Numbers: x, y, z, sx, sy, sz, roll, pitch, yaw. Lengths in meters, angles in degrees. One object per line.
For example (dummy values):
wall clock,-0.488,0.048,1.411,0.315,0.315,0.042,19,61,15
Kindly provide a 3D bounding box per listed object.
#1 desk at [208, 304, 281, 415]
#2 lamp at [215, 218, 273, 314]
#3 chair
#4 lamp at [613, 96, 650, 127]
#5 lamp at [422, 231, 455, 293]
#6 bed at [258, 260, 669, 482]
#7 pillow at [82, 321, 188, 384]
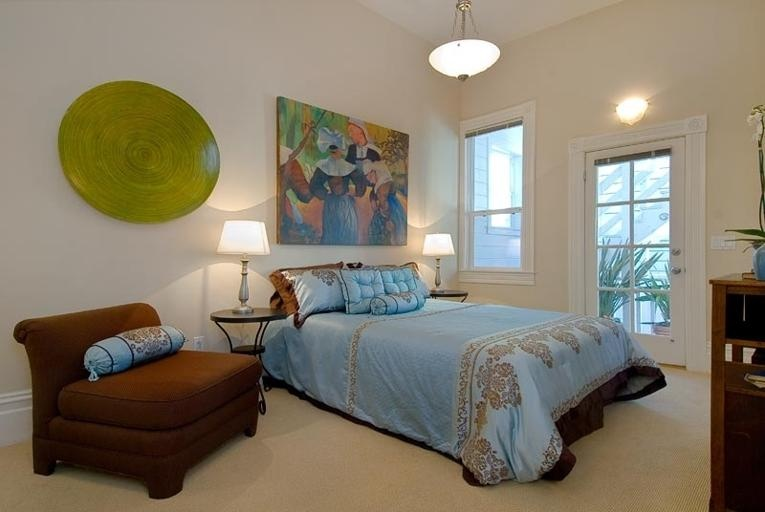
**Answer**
desk,-1.216,0.932,4.459,0.715,0.859,0.702,0,3,-13
lamp,-1.257,0.091,4.486,0.474,0.781,0.472,0,-2,-19
chair,-1.734,0.972,3.659,1.287,1.035,1.289,1,2,20
lamp,2.660,-1.551,5.315,0.273,0.303,0.087,-26,-20,34
lamp,0.662,0.081,6.020,0.430,0.703,0.454,4,-9,-19
bed,0.359,0.911,4.076,2.193,0.856,1.815,-3,-2,41
pillow,-1.835,0.712,3.741,0.284,0.320,0.828,-19,-3,25
